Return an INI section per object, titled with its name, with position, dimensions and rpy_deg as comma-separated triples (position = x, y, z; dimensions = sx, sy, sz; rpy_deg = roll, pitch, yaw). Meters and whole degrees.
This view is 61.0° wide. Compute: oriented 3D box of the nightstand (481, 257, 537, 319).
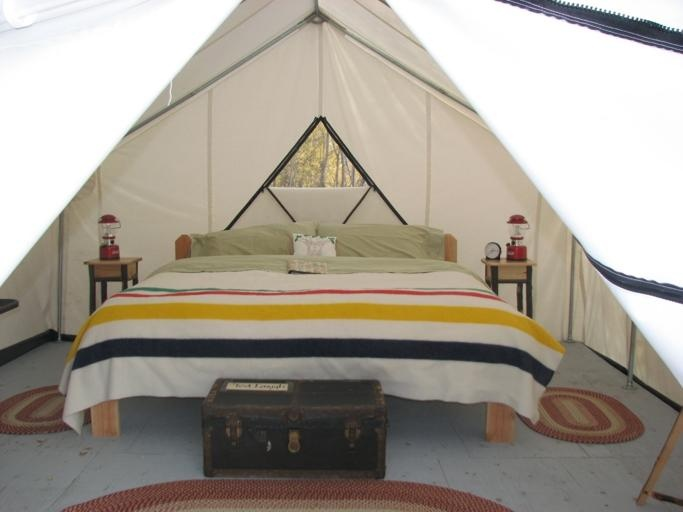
[nightstand]
position = 1.130, 0.192, 4.061
dimensions = 0.435, 0.548, 0.370
rpy_deg = 1, 6, 11

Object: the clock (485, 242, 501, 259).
[clock]
position = 1.081, -0.037, 4.188
dimensions = 0.104, 0.125, 0.114
rpy_deg = 0, 5, 10

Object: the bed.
[bed]
position = -0.140, 0.455, 3.010
dimensions = 2.191, 0.650, 1.052
rpy_deg = 1, 11, 1
